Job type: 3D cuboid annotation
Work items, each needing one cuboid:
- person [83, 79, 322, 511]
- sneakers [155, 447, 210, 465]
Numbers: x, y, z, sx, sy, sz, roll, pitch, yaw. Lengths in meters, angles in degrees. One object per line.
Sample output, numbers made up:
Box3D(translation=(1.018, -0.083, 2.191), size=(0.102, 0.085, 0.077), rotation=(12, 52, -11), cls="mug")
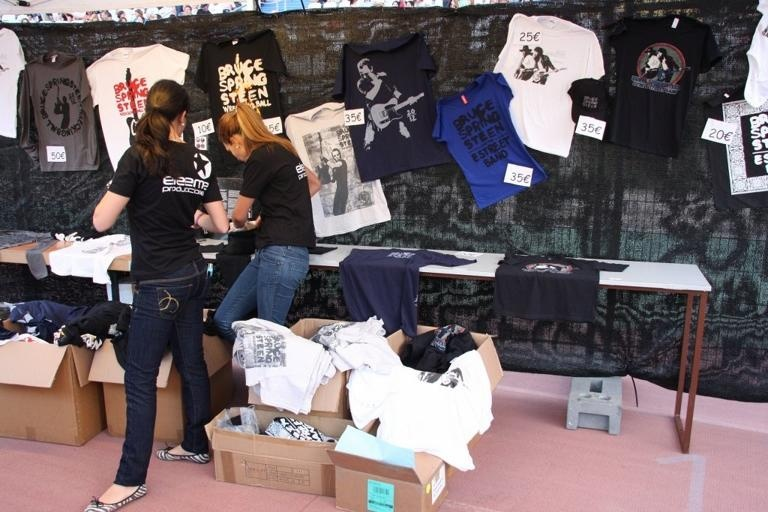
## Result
Box3D(translation=(-1.364, 0.235, 3.450), size=(0.794, 2.571, 0.403), rotation=(-1, 5, -28), cls="person")
Box3D(translation=(-1.325, 1.329, 3.741), size=(0.350, 0.097, 0.127), rotation=(10, 2, -1), cls="sneakers")
